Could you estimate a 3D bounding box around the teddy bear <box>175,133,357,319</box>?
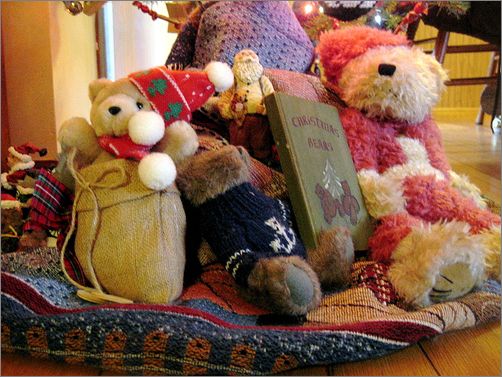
[{"bbox_3d":[0.014,0.085,1.050,0.278,0.197,0.458,-27,58,-38],"label":"teddy bear"}]
